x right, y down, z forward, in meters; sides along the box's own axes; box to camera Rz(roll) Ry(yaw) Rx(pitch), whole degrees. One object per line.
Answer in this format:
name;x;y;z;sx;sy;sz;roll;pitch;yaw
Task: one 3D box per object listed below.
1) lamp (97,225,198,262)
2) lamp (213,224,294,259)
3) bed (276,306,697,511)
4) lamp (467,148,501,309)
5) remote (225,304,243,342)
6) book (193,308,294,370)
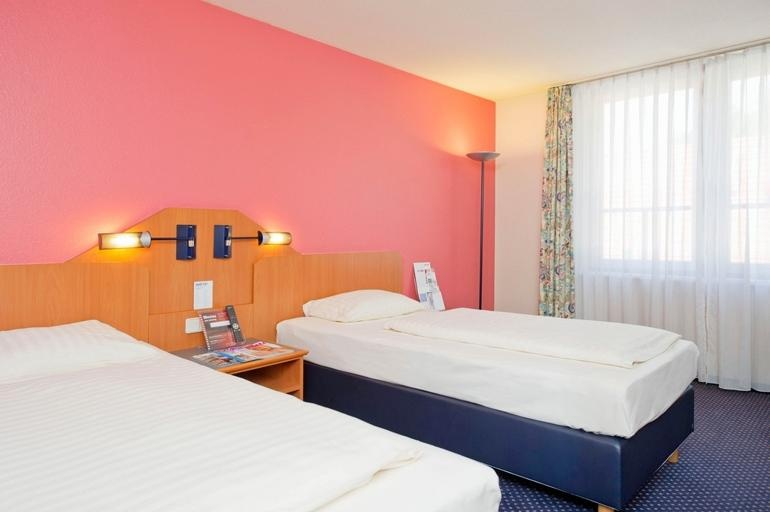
lamp;-1.628;-0.094;3.399;0.172;0.248;0.621;13;13;41
lamp;-1.025;-0.127;3.900;0.545;0.208;0.128;-4;0;-23
bed;0.645;0.913;3.268;1.843;0.401;1.292;3;3;37
lamp;1.124;-0.249;5.694;0.427;1.896;0.384;2;-2;-15
remote;-1.150;0.510;3.784;0.102;0.324;0.059;-13;-19;-32
book;-1.085;0.604;3.555;0.456;0.187;0.453;4;5;37
